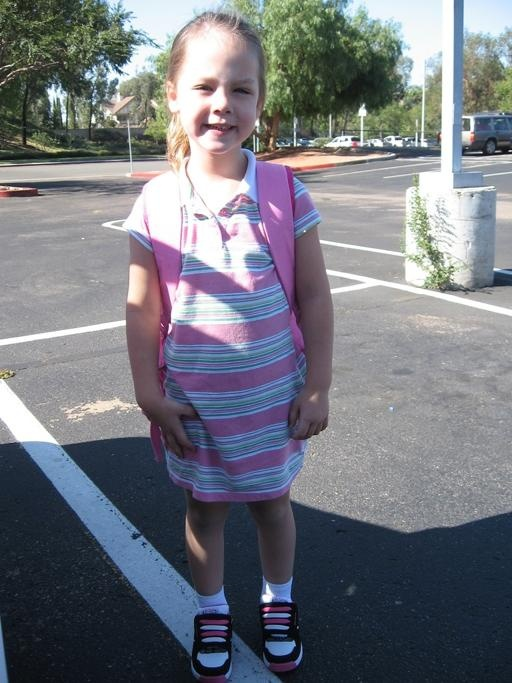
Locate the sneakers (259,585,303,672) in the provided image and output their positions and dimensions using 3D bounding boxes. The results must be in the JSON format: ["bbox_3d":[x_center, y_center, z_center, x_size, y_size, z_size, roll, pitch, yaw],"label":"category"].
[{"bbox_3d":[0.070,0.817,1.736,0.091,0.096,0.257,-3,16,0],"label":"sneakers"}]

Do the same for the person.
[{"bbox_3d":[-0.054,0.073,1.547,0.513,1.720,0.291,-3,12,5],"label":"person"}]
